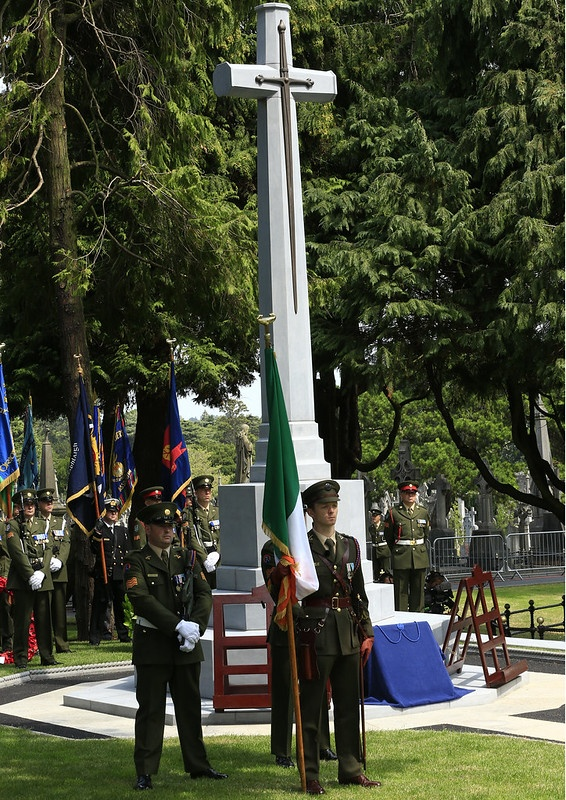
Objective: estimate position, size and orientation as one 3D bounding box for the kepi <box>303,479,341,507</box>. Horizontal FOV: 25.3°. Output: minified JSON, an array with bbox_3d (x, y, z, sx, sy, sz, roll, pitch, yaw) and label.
[{"bbox_3d":[0.269,0.667,9.272,0.182,0.132,0.216,-3,-11,-36],"label":"kepi"}]

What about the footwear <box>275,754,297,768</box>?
[{"bbox_3d":[0.026,2.696,9.498,0.054,0.088,0.182,1,-20,-17],"label":"footwear"}]

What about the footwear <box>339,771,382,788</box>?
[{"bbox_3d":[0.555,2.642,8.879,0.286,0.150,0.111,2,-5,3],"label":"footwear"}]

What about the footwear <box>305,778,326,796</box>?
[{"bbox_3d":[0.230,2.657,8.710,0.114,0.144,0.060,-2,-8,20],"label":"footwear"}]

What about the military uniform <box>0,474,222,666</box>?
[{"bbox_3d":[-2.014,1.897,14.249,1.798,2.729,0.720,13,-37,-38],"label":"military uniform"}]

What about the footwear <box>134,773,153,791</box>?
[{"bbox_3d":[-0.983,2.674,8.883,0.121,0.145,0.061,-3,-9,43],"label":"footwear"}]

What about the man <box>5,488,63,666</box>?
[{"bbox_3d":[-3.079,2.292,15.516,0.601,1.800,0.898,-2,-4,0],"label":"man"}]

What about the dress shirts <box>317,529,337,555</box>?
[{"bbox_3d":[0.336,1.032,9.349,0.100,0.177,0.098,-5,-4,-7],"label":"dress shirts"}]
